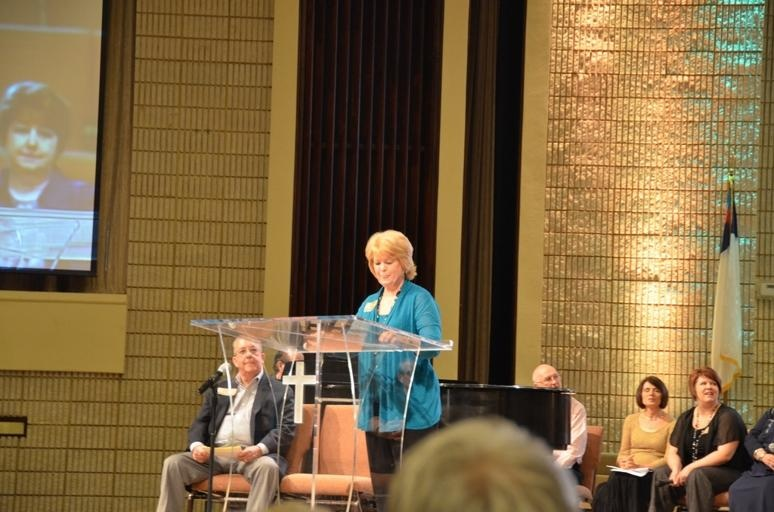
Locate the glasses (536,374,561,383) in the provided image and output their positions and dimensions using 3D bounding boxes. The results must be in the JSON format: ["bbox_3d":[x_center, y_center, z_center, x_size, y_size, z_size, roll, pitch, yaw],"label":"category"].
[{"bbox_3d":[1.662,1.250,14.295,0.133,0.084,0.111,-18,-15,40],"label":"glasses"}]

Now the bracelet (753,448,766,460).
[{"bbox_3d":[3.703,1.943,13.796,0.082,0.064,0.121,3,-39,7],"label":"bracelet"}]

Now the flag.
[{"bbox_3d":[3.700,0.259,15.167,0.330,2.350,0.177,1,-5,-1],"label":"flag"}]

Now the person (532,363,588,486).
[{"bbox_3d":[1.684,1.754,14.027,0.629,1.392,0.772,-1,1,-7],"label":"person"}]
